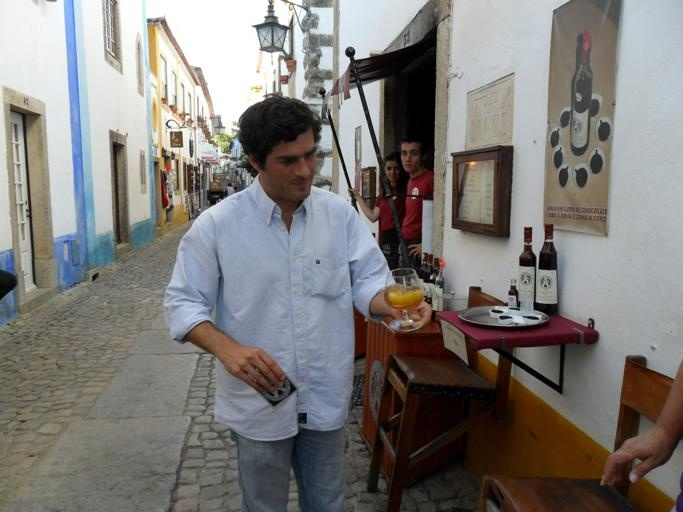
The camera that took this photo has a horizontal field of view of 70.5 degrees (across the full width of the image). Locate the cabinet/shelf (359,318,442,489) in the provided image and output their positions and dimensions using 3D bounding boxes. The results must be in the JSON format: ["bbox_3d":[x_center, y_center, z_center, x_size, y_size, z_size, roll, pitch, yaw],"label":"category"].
[{"bbox_3d":[0.468,0.991,3.597,0.639,1.024,0.730,3,6,7],"label":"cabinet/shelf"}]

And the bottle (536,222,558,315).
[{"bbox_3d":[1.102,0.068,2.569,0.109,0.475,0.121,-1,8,-8],"label":"bottle"}]

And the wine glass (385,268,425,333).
[{"bbox_3d":[0.256,0.186,1.993,0.148,0.276,0.205,2,8,7],"label":"wine glass"}]
